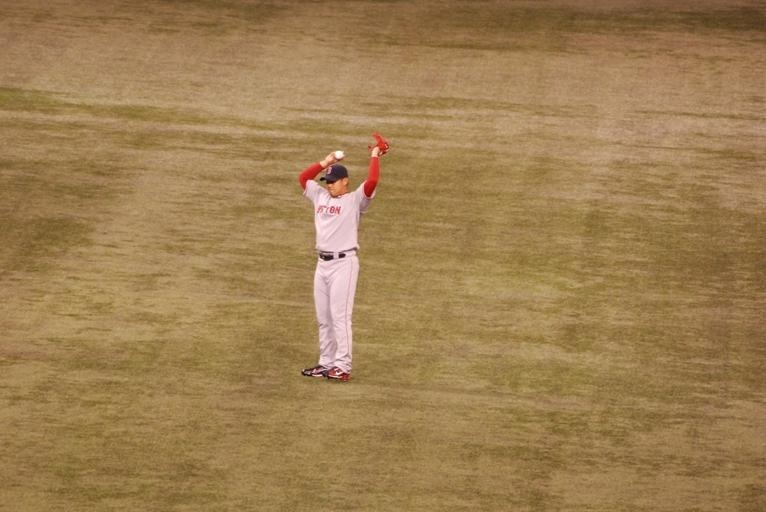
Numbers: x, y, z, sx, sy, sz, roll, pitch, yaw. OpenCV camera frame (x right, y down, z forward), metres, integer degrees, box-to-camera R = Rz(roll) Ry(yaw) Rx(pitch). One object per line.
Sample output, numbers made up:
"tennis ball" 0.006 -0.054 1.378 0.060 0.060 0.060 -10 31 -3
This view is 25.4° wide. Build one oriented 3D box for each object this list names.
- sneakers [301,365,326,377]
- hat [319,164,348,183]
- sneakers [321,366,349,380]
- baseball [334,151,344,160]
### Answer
"sneakers" -0.852 1.387 20.321 0.379 0.122 0.127 4 92 10
"hat" -0.580 -0.972 20.055 0.351 0.219 0.145 -3 101 -27
"sneakers" -0.658 1.402 20.226 0.398 0.123 0.154 4 103 9
"baseball" -0.548 -1.186 19.924 0.137 0.136 0.055 -4 123 -13
